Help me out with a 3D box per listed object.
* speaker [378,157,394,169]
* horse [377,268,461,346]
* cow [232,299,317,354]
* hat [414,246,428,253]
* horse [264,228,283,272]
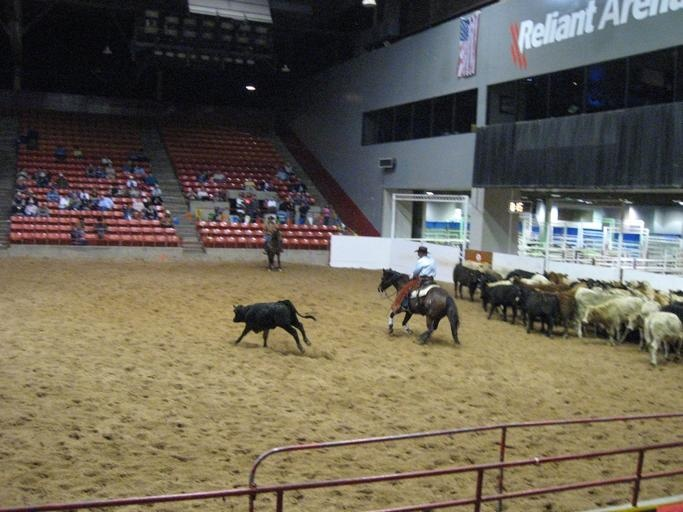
[{"bbox_3d":[2.421,-4.776,34.171,0.952,0.640,0.520,1,-5,45],"label":"speaker"},{"bbox_3d":[2.257,1.495,19.190,1.719,1.901,2.531,-1,5,-25],"label":"horse"},{"bbox_3d":[-1.858,1.798,17.142,2.703,1.334,0.632,-2,1,31],"label":"cow"},{"bbox_3d":[2.630,-0.223,21.682,0.281,0.108,0.236,7,-3,-15],"label":"hat"},{"bbox_3d":[-2.920,-0.292,28.184,0.652,1.601,2.414,0,3,-20],"label":"horse"}]
